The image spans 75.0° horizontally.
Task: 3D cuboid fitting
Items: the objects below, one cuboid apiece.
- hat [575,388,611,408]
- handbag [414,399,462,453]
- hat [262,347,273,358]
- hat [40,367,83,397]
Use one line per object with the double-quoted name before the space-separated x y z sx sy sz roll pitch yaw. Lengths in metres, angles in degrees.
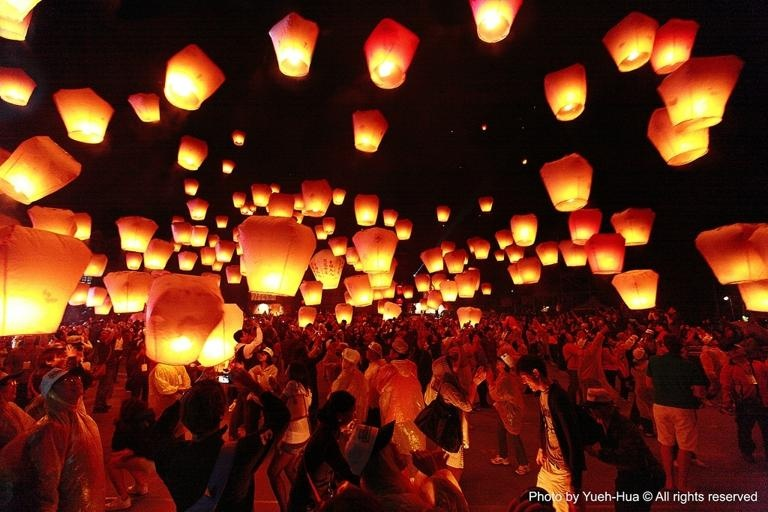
"hat" 2.884 1.936 6.818 0.392 0.174 0.460 -6 -25 12
"handbag" 0.792 2.452 7.153 0.657 0.462 0.754 31 -30 25
"hat" -2.381 1.997 10.414 0.282 0.193 0.276 3 -14 -19
"hat" -3.997 1.547 6.156 0.368 0.386 0.266 17 -29 -28
